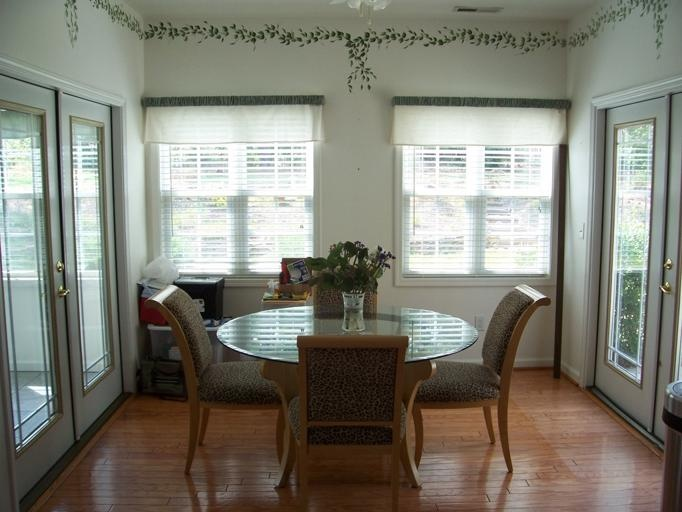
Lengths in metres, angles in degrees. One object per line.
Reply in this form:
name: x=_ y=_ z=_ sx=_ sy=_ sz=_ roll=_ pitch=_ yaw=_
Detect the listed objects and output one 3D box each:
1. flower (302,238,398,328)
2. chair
flower: x=0.029 y=0.161 z=3.901 sx=0.616 sy=0.606 sz=0.581 roll=2 pitch=-4 yaw=-12
chair: x=0.201 y=0.827 z=3.744 sx=2.115 sy=1.203 sz=1.030 roll=-2 pitch=9 yaw=-14
